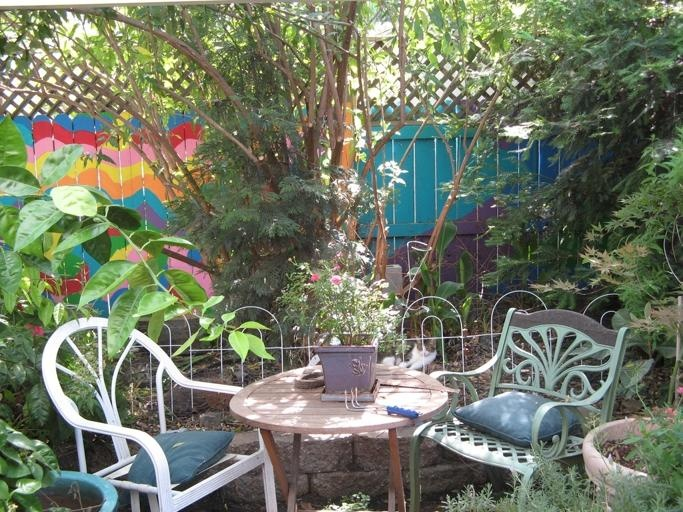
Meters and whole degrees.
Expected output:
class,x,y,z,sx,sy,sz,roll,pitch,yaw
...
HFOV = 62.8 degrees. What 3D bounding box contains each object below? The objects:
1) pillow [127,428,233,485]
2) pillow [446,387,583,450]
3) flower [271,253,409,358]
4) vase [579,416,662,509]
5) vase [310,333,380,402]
class,x,y,z,sx,sy,sz,roll,pitch,yaw
pillow,-0.709,0.850,2.417,0.337,0.120,0.432,6,6,21
pillow,0.825,0.720,2.567,0.370,0.213,0.535,-3,9,-44
flower,-0.016,0.080,2.611,0.480,0.527,0.675,1,3,10
vase,0.922,0.677,1.927,0.262,0.212,0.277,-3,13,14
vase,0.034,0.465,2.395,0.251,0.246,0.229,-2,8,6
